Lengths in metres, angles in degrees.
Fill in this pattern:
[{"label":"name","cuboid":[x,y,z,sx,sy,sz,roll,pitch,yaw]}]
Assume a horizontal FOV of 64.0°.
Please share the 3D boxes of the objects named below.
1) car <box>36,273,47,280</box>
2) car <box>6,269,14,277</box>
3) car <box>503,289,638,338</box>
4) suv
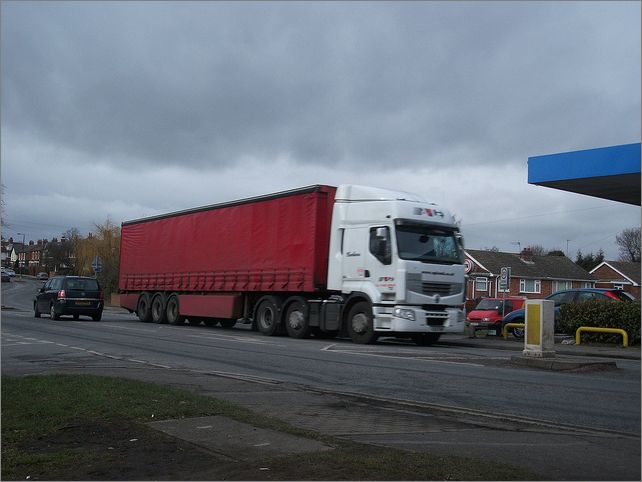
[{"label":"car","cuboid":[-60.859,7.823,111.546,1.374,1.209,2.094,1,-8,-19]},{"label":"car","cuboid":[-66.489,7.054,109.414,1.515,1.263,3.427,3,1,-30]},{"label":"car","cuboid":[10.586,3.167,22.229,4.968,2.344,3.776,-4,-12,35]},{"label":"suv","cuboid":[-13.001,2.829,26.397,1.988,1.774,3.561,4,-1,-31]}]
